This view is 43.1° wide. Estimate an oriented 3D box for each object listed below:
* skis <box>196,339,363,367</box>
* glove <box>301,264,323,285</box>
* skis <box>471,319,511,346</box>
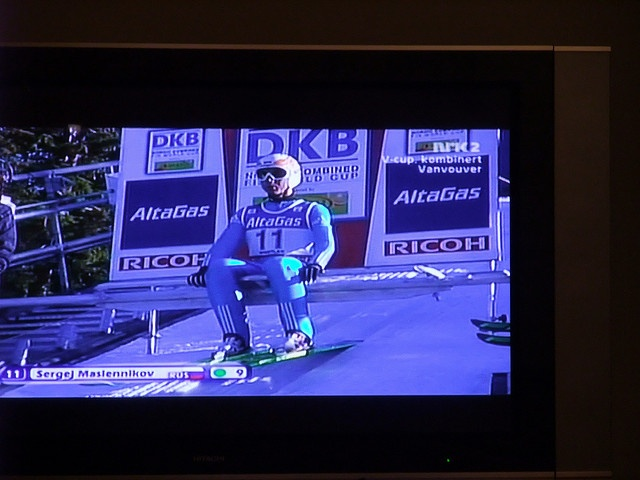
[{"bbox_3d":[-0.134,0.413,2.988,0.402,0.036,0.079,-3,27,-9],"label":"skis"},{"bbox_3d":[-0.035,0.125,3.001,0.068,0.078,0.030,21,0,9],"label":"glove"},{"bbox_3d":[0.635,0.335,2.991,0.243,0.081,0.049,3,0,-6],"label":"skis"}]
